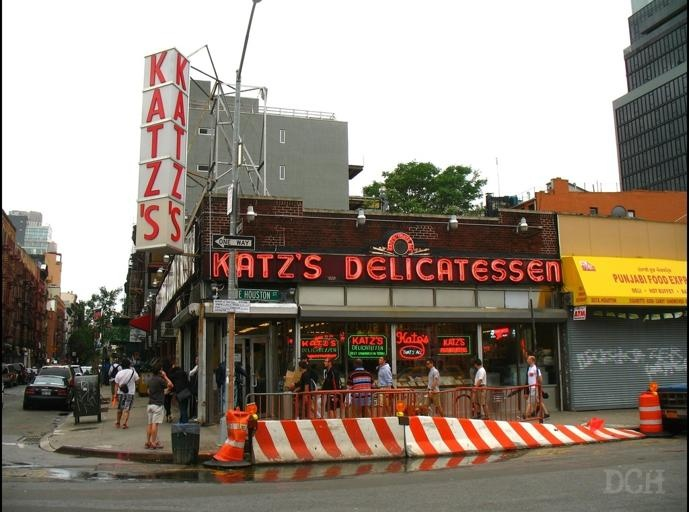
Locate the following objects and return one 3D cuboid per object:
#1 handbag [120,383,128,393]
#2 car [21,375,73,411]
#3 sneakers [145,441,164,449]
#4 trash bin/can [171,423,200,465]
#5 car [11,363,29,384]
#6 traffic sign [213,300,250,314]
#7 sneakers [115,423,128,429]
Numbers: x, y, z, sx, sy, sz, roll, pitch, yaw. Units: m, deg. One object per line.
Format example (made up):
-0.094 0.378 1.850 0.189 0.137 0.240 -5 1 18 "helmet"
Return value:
-6.936 4.133 25.169 0.234 0.230 0.196 -3 -2 -17 "handbag"
-12.666 5.885 34.359 1.914 1.535 1.414 -9 3 -13 "car"
-5.105 5.030 21.505 0.489 0.231 0.189 2 -7 -11 "sneakers"
-4.049 4.664 20.109 0.821 1.174 0.855 0 -7 -4 "trash bin/can"
-22.559 8.111 55.590 1.075 1.174 2.182 0 -2 -8 "car"
-2.964 1.315 21.079 0.935 0.376 0.504 -11 4 -43 "traffic sign"
-7.112 5.409 25.621 0.174 0.228 0.508 2 -5 0 "sneakers"
